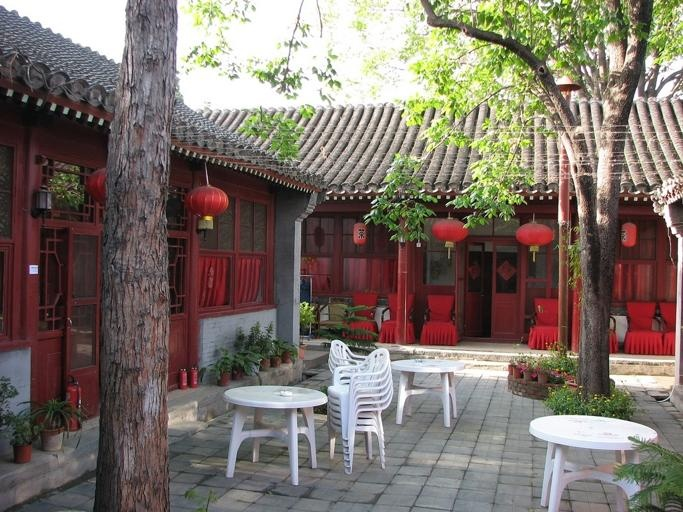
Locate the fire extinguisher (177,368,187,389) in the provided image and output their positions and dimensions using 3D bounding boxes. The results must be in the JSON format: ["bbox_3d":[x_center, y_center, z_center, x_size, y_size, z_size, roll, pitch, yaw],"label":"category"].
[{"bbox_3d":[-1.911,1.464,7.362,0.093,0.242,0.070,0,4,-16],"label":"fire extinguisher"}]

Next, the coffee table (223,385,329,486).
[{"bbox_3d":[-0.616,1.610,5.951,0.944,0.709,1.256,1,4,2],"label":"coffee table"}]

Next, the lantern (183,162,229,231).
[{"bbox_3d":[-1.597,-0.705,7.270,0.457,0.839,1.040,0,4,-13],"label":"lantern"}]

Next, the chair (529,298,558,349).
[{"bbox_3d":[3.625,1.208,11.048,0.471,0.871,0.571,3,4,23],"label":"chair"}]

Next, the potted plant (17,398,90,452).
[{"bbox_3d":[-2.569,1.429,5.352,0.406,0.295,0.425,1,-9,-2],"label":"potted plant"}]

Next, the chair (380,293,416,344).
[{"bbox_3d":[1.033,1.163,11.728,0.808,1.175,0.790,-1,-5,18],"label":"chair"}]

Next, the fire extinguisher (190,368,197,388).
[{"bbox_3d":[-1.804,1.473,7.490,0.093,0.228,0.083,-1,5,-27],"label":"fire extinguisher"}]

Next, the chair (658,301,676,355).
[{"bbox_3d":[5.656,1.253,10.700,0.231,0.836,0.447,3,4,22],"label":"chair"}]

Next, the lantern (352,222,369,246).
[{"bbox_3d":[0.355,-0.433,11.937,0.280,0.467,0.494,1,4,1],"label":"lantern"}]

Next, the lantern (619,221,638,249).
[{"bbox_3d":[5.126,-0.380,10.975,0.254,0.463,0.530,3,4,25],"label":"lantern"}]

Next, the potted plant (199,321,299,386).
[{"bbox_3d":[-1.274,1.333,8.411,0.535,0.454,1.063,1,2,26],"label":"potted plant"}]

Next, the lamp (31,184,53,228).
[{"bbox_3d":[-2.707,-0.472,5.612,0.145,0.345,0.310,1,4,-5],"label":"lamp"}]

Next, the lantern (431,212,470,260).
[{"bbox_3d":[1.891,-0.328,10.506,0.588,0.805,0.608,1,-3,-18],"label":"lantern"}]

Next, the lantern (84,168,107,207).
[{"bbox_3d":[-2.270,-0.655,5.671,0.161,0.314,0.346,-1,4,-24],"label":"lantern"}]
